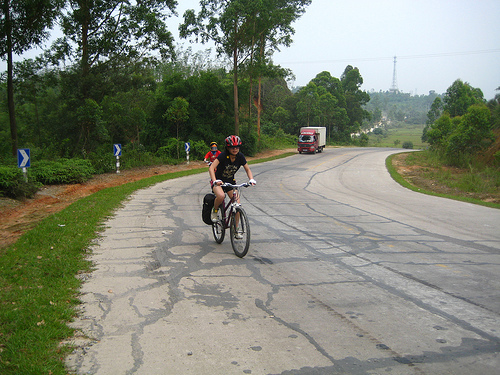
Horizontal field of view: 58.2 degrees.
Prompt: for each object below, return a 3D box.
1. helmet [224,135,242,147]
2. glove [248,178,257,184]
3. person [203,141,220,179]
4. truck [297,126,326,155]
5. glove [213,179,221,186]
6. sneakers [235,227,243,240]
[{"bbox_3d":[-0.396,-1.021,9.954,0.324,0.175,0.455,-4,14,-21],"label":"helmet"},{"bbox_3d":[0.064,-0.118,9.998,0.119,0.140,0.152,24,48,37],"label":"glove"},{"bbox_3d":[-1.122,-0.897,15.063,0.756,0.521,1.501,-8,39,-14],"label":"person"},{"bbox_3d":[6.825,-5.302,50.700,2.015,2.459,5.175,1,6,15],"label":"truck"},{"bbox_3d":[-0.704,-0.097,9.850,0.165,0.162,0.349,-2,13,-11],"label":"glove"},{"bbox_3d":[-0.250,1.021,10.035,0.145,0.172,0.284,0,-4,-9],"label":"sneakers"}]
